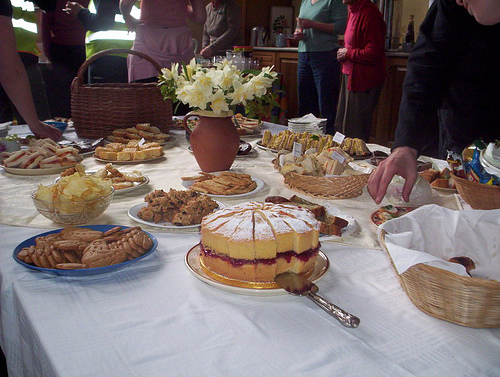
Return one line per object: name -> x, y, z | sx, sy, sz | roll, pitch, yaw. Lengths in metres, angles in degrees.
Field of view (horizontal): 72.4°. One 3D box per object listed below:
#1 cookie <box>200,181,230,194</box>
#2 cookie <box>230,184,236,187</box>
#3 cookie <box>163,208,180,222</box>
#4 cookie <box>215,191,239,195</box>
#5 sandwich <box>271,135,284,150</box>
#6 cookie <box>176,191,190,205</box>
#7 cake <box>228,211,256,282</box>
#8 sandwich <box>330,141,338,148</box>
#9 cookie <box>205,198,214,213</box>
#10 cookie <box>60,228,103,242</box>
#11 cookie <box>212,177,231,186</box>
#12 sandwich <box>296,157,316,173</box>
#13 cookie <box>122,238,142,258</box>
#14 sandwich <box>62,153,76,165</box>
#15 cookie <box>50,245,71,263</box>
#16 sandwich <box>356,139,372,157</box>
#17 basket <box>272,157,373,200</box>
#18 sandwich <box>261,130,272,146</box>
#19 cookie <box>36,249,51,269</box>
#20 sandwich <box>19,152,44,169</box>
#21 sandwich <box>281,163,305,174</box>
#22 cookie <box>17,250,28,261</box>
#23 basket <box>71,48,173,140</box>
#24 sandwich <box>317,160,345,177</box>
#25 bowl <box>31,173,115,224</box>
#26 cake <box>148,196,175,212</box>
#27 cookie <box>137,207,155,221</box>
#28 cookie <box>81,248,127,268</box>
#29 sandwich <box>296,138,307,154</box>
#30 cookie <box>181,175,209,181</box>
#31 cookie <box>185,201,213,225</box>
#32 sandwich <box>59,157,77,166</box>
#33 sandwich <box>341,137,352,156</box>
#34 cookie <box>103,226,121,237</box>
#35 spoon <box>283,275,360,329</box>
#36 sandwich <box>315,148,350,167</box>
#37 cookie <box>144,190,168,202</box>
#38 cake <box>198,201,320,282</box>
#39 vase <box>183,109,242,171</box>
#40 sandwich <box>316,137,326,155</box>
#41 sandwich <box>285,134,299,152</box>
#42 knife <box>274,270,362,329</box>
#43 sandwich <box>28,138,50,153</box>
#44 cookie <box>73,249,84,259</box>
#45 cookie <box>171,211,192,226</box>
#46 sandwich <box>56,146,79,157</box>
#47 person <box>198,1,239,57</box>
cookie -> -0.141, -0.010, 1.312 | 0.088, 0.019, 0.047 | 13, 24, 32
cookie -> -0.064, -0.012, 1.313 | 0.020, 0.007, 0.014 | 5, 21, 16
cookie -> -0.253, 0.085, 1.082 | 0.041, 0.038, 0.012 | 11, -19, -19
cookie -> -0.086, 0.017, 1.289 | 0.070, 0.014, 0.017 | -2, 20, -4
sandwich -> 0.150, -0.253, 1.894 | 0.051, 0.078, 0.019 | 18, -4, 29
cookie -> -0.216, 0.027, 1.103 | 0.038, 0.015, 0.038 | 43, 33, -1
cake -> -0.042, 0.191, 0.795 | 0.059, 0.136, 0.121 | 13, 50, -17
sandwich -> 0.430, -0.226, 1.736 | 0.027, 0.034, 0.036 | 1, 6, 41
cookie -> -0.128, 0.054, 1.076 | 0.024, 0.037, 0.009 | 4, -29, -46
cookie -> -0.433, 0.117, 0.871 | 0.067, 0.009, 0.047 | 5, 12, 6
cookie -> -0.105, -0.031, 1.331 | 0.040, 0.011, 0.039 | 11, 4, 3
sandwich -> 0.218, -0.096, 1.356 | 0.055, 0.055, 0.015 | -16, -5, 34
cookie -> -0.291, 0.148, 0.845 | 0.042, 0.012, 0.039 | 17, 25, -50
sandwich -> -0.831, -0.136, 1.572 | 0.055, 0.020, 0.053 | -10, 59, -24
cookie -> -0.449, 0.157, 0.802 | 0.047, 0.011, 0.031 | 49, 22, 26
sandwich -> 0.585, -0.210, 1.808 | 0.095, 0.030, 0.072 | 25, 2, -16
basket -> 0.303, -0.052, 1.406 | 0.251, 0.107, 0.328 | -9, 15, -33
sandwich -> 0.096, -0.294, 1.964 | 0.024, 0.073, 0.075 | 10, -1, 1
cookie -> -0.480, 0.166, 0.794 | 0.027, 0.011, 0.047 | -18, 62, -39
sandwich -> -0.969, -0.125, 1.522 | 0.059, 0.092, 0.023 | 48, 7, 2
sandwich -> 0.170, -0.082, 1.371 | 0.053, 0.018, 0.055 | 10, 13, -13
cookie -> -0.544, 0.159, 0.817 | 0.026, 0.007, 0.023 | 7, 35, 14
basket -> -0.811, -0.635, 2.225 | 0.469, 0.529, 0.651 | 6, 19, 35
sandwich -> 0.327, -0.083, 1.382 | 0.082, 0.024, 0.076 | 5, 49, 24
bowl -> -0.531, 0.024, 1.076 | 0.209, 0.108, 0.211 | 6, 19, -2
cake -> -0.282, 0.051, 1.085 | 0.064, 0.028, 0.046 | -2, 40, 6
cookie -> -0.332, 0.080, 1.087 | 0.041, 0.038, 0.058 | -13, 23, -30
cookie -> -0.340, 0.159, 0.791 | 0.065, 0.017, 0.046 | -2, 12, -10
sandwich -> 0.264, -0.211, 1.729 | 0.060, 0.068, 0.072 | 5, 16, 4
cookie -> -0.229, -0.043, 1.410 | 0.100, 0.025, 0.018 | -2, 60, -3
cookie -> -0.159, 0.068, 1.055 | 0.070, 0.024, 0.075 | 17, 39, 6
sandwich -> -0.833, -0.130, 1.563 | 0.072, 0.037, 0.046 | -11, 22, -26
sandwich -> 0.523, -0.229, 1.834 | 0.052, 0.030, 0.087 | 8, 59, 10
cookie -> -0.357, 0.112, 0.889 | 0.028, 0.007, 0.027 | -27, -1, -6
spoon -> 0.142, 0.227, 0.683 | 0.054, 0.009, 0.197 | -12, 18, -27
sandwich -> 0.340, -0.121, 1.432 | 0.084, 0.032, 0.108 | 24, 11, 23
cookie -> -0.312, 0.017, 1.125 | 0.054, 0.021, 0.044 | -23, 6, -20
cake -> 0.021, 0.119, 0.821 | 0.306, 0.123, 0.191 | -1, 20, -3
vase -> -0.185, -0.237, 1.616 | 0.297, 0.282, 0.219 | -3, 19, -24
sandwich -> 0.359, -0.222, 1.761 | 0.027, 0.100, 0.037 | 15, -13, 11
sandwich -> 0.223, -0.249, 1.836 | 0.024, 0.072, 0.074 | 17, -2, -27
knife -> 0.131, 0.206, 0.679 | 0.063, 0.012, 0.227 | -8, 17, -27
sandwich -> -0.991, -0.195, 1.621 | 0.076, 0.026, 0.076 | 36, 65, 29
cookie -> -0.407, 0.159, 0.825 | 0.022, 0.020, 0.016 | -25, 8, 9
cookie -> -0.212, 0.096, 1.053 | 0.048, 0.030, 0.052 | -18, 26, -41
sandwich -> -0.852, -0.168, 1.580 | 0.057, 0.019, 0.056 | -4, 16, -5
person -> -0.452, -2.456, 5.225 | 0.554, 0.778, 0.619 | -3, 20, -6
